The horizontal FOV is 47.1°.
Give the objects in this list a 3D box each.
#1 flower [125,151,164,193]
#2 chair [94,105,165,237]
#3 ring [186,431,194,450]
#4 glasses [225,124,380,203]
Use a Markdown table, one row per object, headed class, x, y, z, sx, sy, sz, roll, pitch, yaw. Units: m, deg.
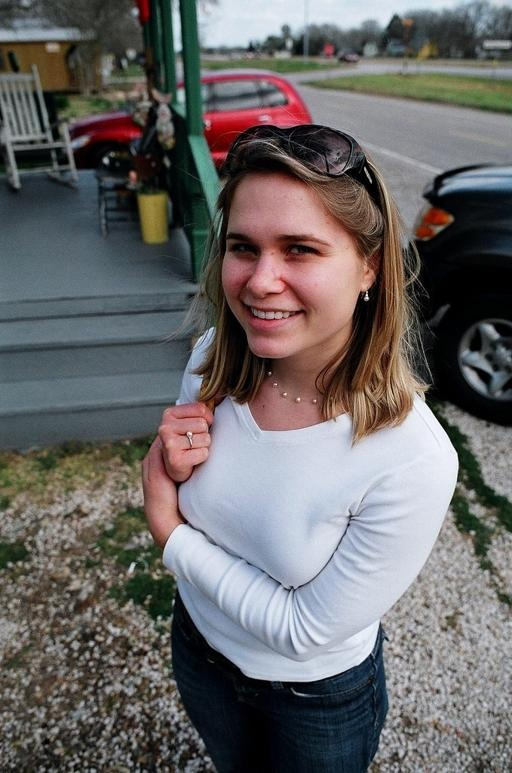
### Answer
| class | x | y | z | sx | sy | sz | roll | pitch | yaw |
| --- | --- | --- | --- | --- | --- | --- | --- | --- | --- |
| flower | -0.882 | -1.695 | 4.655 | 0.287 | 0.283 | 0.197 | -8 | 37 | -16 |
| chair | -1.014 | -1.754 | 4.700 | 0.524 | 0.883 | 0.518 | 1 | 47 | -5 |
| ring | -0.136 | 0.104 | 1.201 | 0.016 | 0.028 | 0.011 | 2 | -16 | -17 |
| glasses | 0.076 | -0.369 | 0.994 | 0.271 | 0.130 | 0.118 | 5 | 30 | 9 |
